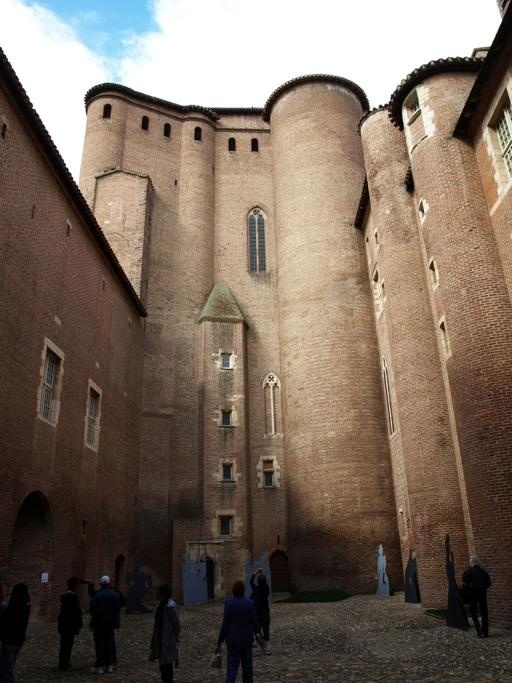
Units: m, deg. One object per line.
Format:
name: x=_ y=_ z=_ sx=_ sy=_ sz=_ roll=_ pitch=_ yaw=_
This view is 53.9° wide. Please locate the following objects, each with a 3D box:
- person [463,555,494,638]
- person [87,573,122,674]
person: x=3.741 y=4.330 z=8.498 sx=0.445 sy=1.254 sz=0.826 roll=-10 pitch=-22 yaw=18
person: x=-2.199 y=4.116 z=7.311 sx=0.460 sy=1.224 sz=1.152 roll=2 pitch=-22 yaw=-14
